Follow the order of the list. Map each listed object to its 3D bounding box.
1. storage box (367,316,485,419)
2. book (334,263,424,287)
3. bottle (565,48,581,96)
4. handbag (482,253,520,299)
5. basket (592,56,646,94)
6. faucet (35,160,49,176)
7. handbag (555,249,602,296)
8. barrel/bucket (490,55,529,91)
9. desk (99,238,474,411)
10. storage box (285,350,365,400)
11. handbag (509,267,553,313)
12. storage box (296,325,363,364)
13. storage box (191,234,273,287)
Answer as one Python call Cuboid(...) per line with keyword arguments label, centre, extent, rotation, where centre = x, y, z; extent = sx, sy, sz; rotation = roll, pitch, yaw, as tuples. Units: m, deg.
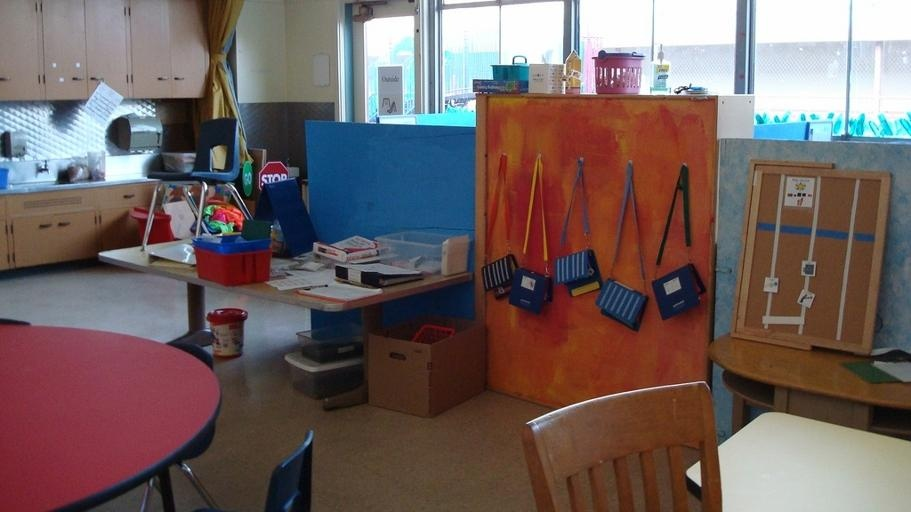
Cuboid(label="storage box", centre=(-0.186, 0.732, 4.775), extent=(0.702, 0.428, 0.726), rotation=(4, 6, 37))
Cuboid(label="book", centre=(-0.602, 0.127, 4.617), extent=(0.297, 0.066, 0.297), rotation=(7, 9, 38))
Cuboid(label="bottle", centre=(0.838, -1.304, 4.590), extent=(0.111, 0.294, 0.332), rotation=(2, 14, 10))
Cuboid(label="handbag", centre=(0.323, 0.146, 4.756), extent=(0.249, 0.329, 0.099), rotation=(37, 18, 30))
Cuboid(label="basket", centre=(1.115, -1.202, 4.406), extent=(0.303, 0.193, 0.276), rotation=(3, 7, 27))
Cuboid(label="faucet", centre=(-4.862, -1.045, 7.629), extent=(0.144, 0.193, 0.199), rotation=(11, 11, 37))
Cuboid(label="handbag", centre=(0.865, 0.109, 4.488), extent=(0.329, 0.296, 0.167), rotation=(-3, -5, 33))
Cuboid(label="barrel/bucket", centre=(0.422, -1.345, 4.820), extent=(0.322, 0.291, 0.316), rotation=(0, 13, 0))
Cuboid(label="desk", centre=(-1.036, 0.646, 5.047), extent=(2.762, 0.771, 1.314), rotation=(12, 13, 30))
Cuboid(label="storage box", centre=(-0.977, 0.884, 4.792), extent=(0.473, 0.174, 0.373), rotation=(-3, 8, -41))
Cuboid(label="handbag", centre=(0.553, 0.235, 4.648), extent=(0.289, 0.263, 0.153), rotation=(17, 10, 29))
Cuboid(label="storage box", centre=(-0.922, 0.644, 4.834), extent=(0.388, 0.121, 0.292), rotation=(-6, 12, -36))
Cuboid(label="storage box", centre=(-1.579, 0.017, 4.633), extent=(0.333, 0.229, 0.493), rotation=(-5, 9, -37))
